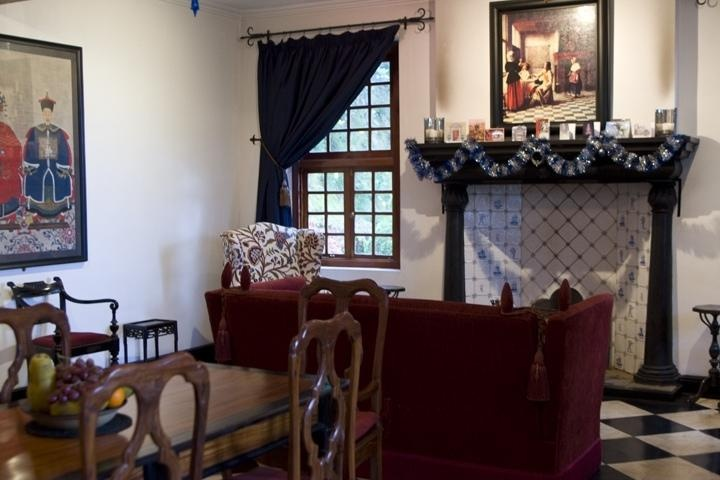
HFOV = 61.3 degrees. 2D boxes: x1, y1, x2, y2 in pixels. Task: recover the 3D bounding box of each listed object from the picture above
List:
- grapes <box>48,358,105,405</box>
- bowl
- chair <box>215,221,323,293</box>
[{"bbox_3d":[-1.358,0.674,2.885,0.228,0.178,0.165,-4,6,-15],"label":"grapes"},{"bbox_3d":[-1.422,0.842,2.938,0.542,0.099,0.214,-2,6,0],"label":"bowl"},{"bbox_3d":[-0.969,0.156,6.501,0.748,0.738,0.897,3,4,29],"label":"chair"}]
